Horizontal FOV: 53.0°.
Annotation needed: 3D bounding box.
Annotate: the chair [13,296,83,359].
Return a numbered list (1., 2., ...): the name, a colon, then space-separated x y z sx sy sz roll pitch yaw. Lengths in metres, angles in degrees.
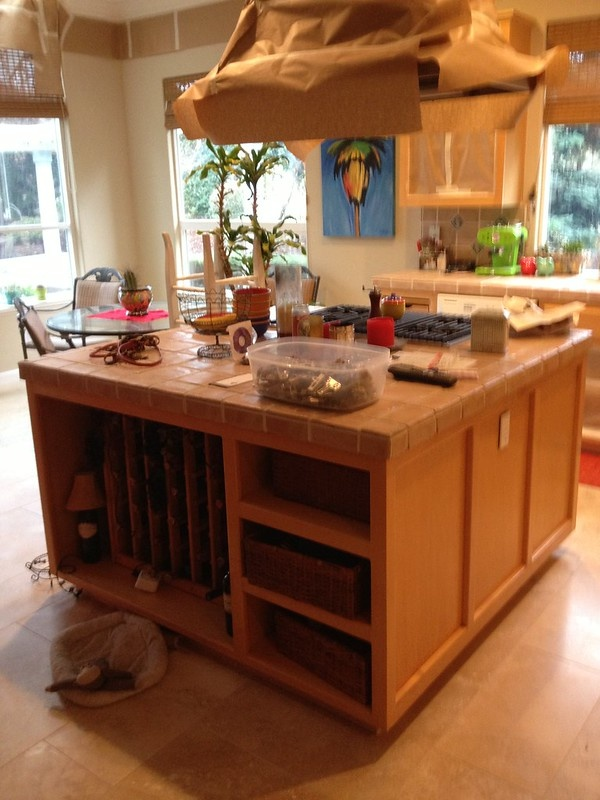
1. chair: -1.820 -0.443 4.390 0.380 0.537 0.355 4 14 2

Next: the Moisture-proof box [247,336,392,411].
1. Moisture-proof box: 0.041 -0.053 1.457 0.273 0.103 0.205 6 16 29

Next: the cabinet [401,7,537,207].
1. cabinet: 0.971 -1.779 3.916 0.693 0.451 0.917 6 -21 18

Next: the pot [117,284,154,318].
1. pot: -1.152 -0.684 4.204 0.240 0.208 0.236 -1 21 0

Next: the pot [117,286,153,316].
1. pot: -1.158 -0.693 4.196 0.220 0.201 0.247 7 20 24

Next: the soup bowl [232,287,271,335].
1. soup bowl: -0.162 -0.322 2.190 0.153 0.173 0.147 -1 20 0
